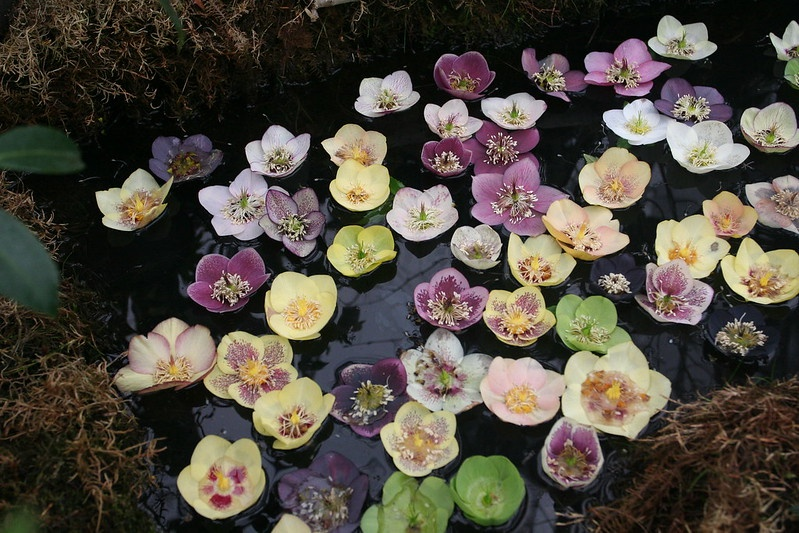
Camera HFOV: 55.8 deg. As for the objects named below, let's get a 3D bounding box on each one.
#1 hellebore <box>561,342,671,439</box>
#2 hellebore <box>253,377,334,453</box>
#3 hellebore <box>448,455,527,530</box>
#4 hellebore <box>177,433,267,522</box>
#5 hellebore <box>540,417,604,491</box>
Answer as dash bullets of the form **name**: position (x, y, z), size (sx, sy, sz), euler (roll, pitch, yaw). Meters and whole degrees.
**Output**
- **hellebore**: position (0.756, 0.426, 2.645), size (0.400, 0.146, 0.478), euler (-16, 24, 25)
- **hellebore**: position (-0.402, 0.512, 2.740), size (0.385, 0.358, 0.144), euler (7, 93, 42)
- **hellebore**: position (0.303, 0.758, 2.567), size (0.231, 0.111, 0.251), euler (-39, 82, -6)
- **hellebore**: position (-0.599, 0.715, 2.597), size (0.278, 0.107, 0.285), euler (34, 82, 6)
- **hellebore**: position (0.595, 0.640, 2.598), size (0.196, 0.053, 0.213), euler (20, 81, 4)
